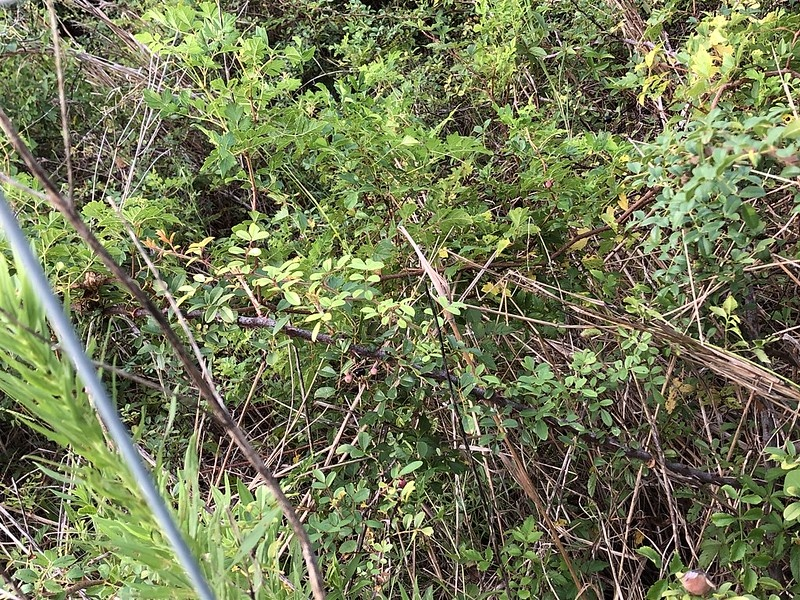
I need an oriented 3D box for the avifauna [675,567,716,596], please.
[{"bbox_3d":[0.665,0.642,1.449,0.064,0.116,0.036,-20,32,13],"label":"avifauna"}]
